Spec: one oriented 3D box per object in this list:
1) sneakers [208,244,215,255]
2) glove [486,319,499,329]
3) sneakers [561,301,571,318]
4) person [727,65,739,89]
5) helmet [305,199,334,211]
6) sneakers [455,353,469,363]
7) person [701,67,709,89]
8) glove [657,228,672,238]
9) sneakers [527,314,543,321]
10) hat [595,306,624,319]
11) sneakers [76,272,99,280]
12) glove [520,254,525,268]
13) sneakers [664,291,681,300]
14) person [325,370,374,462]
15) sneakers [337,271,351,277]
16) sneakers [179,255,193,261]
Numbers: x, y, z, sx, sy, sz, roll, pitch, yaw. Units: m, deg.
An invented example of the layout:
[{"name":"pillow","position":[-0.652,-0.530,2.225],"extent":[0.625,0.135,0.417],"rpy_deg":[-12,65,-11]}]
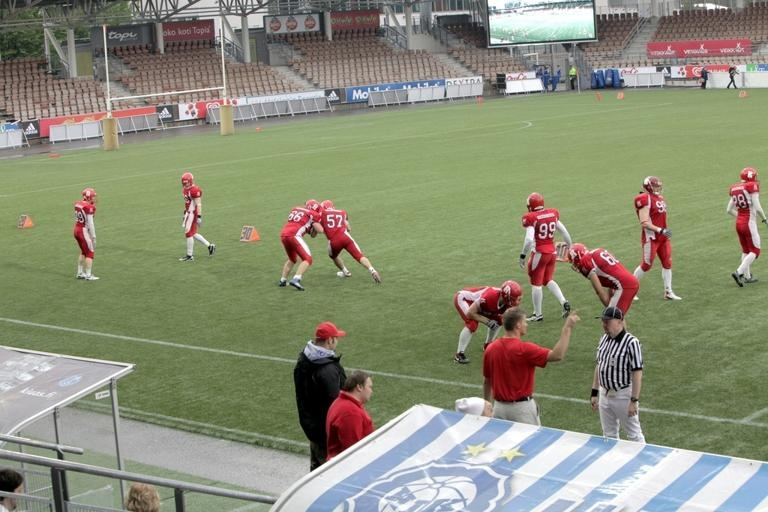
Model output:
[{"name":"sneakers","position":[-4.002,-0.114,22.560],"extent":[0.121,0.285,0.139],"rpy_deg":[5,20,-2]},{"name":"glove","position":[1.675,1.060,15.101],"extent":[0.173,0.076,0.214],"rpy_deg":[2,3,5]},{"name":"sneakers","position":[3.240,0.958,17.410],"extent":[0.146,0.323,0.163],"rpy_deg":[2,31,6]},{"name":"person","position":[19.298,-9.958,54.196],"extent":[0.497,1.229,1.252],"rpy_deg":[-2,13,20]},{"name":"helmet","position":[-1.365,-1.047,20.011],"extent":[0.682,0.229,0.409],"rpy_deg":[0,4,-1]},{"name":"sneakers","position":[1.253,1.677,15.823],"extent":[0.131,0.092,0.225],"rpy_deg":[3,15,6]},{"name":"person","position":[18.143,-10.127,55.364],"extent":[0.359,1.153,1.268],"rpy_deg":[-2,13,18]},{"name":"glove","position":[5.075,-0.422,17.695],"extent":[0.168,0.081,0.223],"rpy_deg":[33,-2,-19]},{"name":"sneakers","position":[2.697,1.113,17.468],"extent":[0.337,0.125,0.111],"rpy_deg":[1,4,-1]},{"name":"hat","position":[2.901,0.743,12.396],"extent":[0.403,0.149,0.255],"rpy_deg":[-2,3,-3]},{"name":"sneakers","position":[-6.469,0.447,21.304],"extent":[0.557,0.227,0.176],"rpy_deg":[0,15,13]},{"name":"glove","position":[2.419,0.101,17.230],"extent":[0.074,0.187,0.145],"rpy_deg":[2,-2,28]},{"name":"sneakers","position":[5.329,0.737,18.007],"extent":[0.317,0.112,0.116],"rpy_deg":[6,18,30]},{"name":"person","position":[-0.467,1.950,11.675],"extent":[0.576,1.012,0.609],"rpy_deg":[-2,13,16]},{"name":"sneakers","position":[-0.884,0.403,20.664],"extent":[0.308,0.104,0.123],"rpy_deg":[7,-24,20]},{"name":"sneakers","position":[-4.577,0.061,22.448],"extent":[0.358,0.133,0.115],"rpy_deg":[4,6,29]}]
